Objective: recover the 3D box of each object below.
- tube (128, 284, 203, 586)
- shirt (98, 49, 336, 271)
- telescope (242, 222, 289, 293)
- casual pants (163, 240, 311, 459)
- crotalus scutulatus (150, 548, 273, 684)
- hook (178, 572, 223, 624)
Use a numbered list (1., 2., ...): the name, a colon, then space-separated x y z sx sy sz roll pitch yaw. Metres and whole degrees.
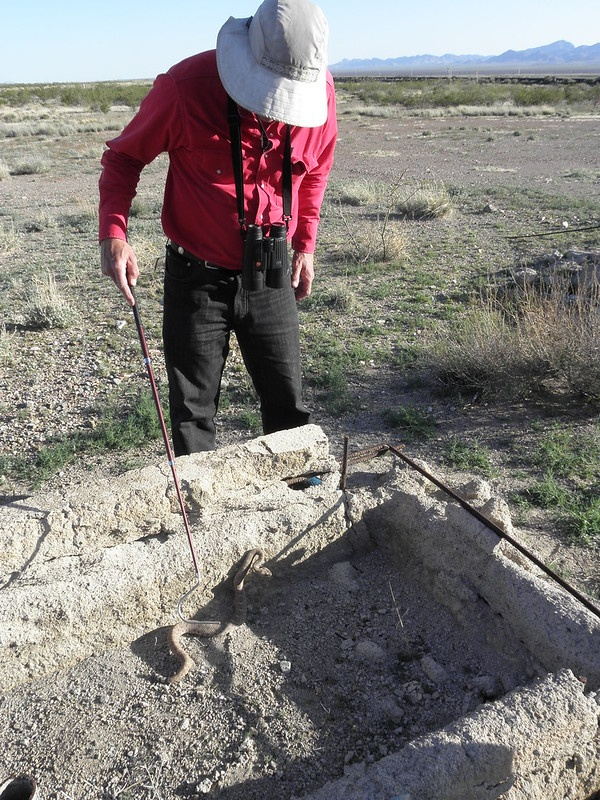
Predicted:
1. tube: -0.598 0.194 3.066 0.092 1.770 0.255 -4 8 22
2. shirt: -0.326 -1.015 3.171 1.226 1.010 0.560 -12 52 -30
3. telescope: -0.144 -0.606 3.110 0.261 0.256 0.099 -5 19 -23
4. casual pants: -0.261 -0.236 3.560 0.681 1.245 0.355 -7 43 -9
5. crotalus scutulatus: -0.331 0.878 3.066 0.221 0.153 0.658 29 52 27
6. hook: -0.429 0.832 3.087 0.252 0.288 0.022 0 -6 -5
